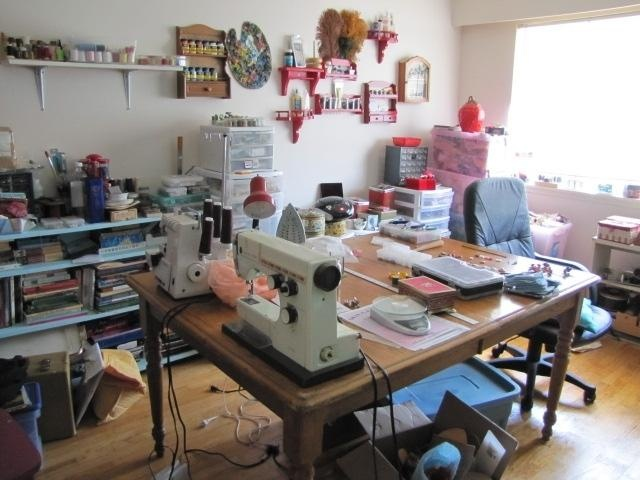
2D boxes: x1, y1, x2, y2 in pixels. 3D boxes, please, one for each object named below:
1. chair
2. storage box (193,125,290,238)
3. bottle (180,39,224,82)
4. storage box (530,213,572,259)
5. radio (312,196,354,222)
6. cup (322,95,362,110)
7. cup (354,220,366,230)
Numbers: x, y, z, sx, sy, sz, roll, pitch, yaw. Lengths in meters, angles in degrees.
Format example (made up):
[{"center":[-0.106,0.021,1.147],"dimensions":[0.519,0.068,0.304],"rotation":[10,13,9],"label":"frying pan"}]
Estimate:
[{"center":[1.492,0.338,3.447],"dimensions":[0.855,1.425,0.903],"rotation":[-9,14,-30],"label":"chair"},{"center":[-0.619,-0.505,3.925],"dimensions":[0.495,1.026,0.502],"rotation":[-7,16,-33],"label":"storage box"},{"center":[-0.884,-1.318,3.700],"dimensions":[0.325,0.285,0.115],"rotation":[-10,21,-33],"label":"bottle"},{"center":[2.002,-0.039,4.390],"dimensions":[0.248,0.322,0.300],"rotation":[-14,25,-27],"label":"storage box"},{"center":[0.104,-0.216,3.524],"dimensions":[0.269,0.132,0.251],"rotation":[-5,15,-9],"label":"radio"},{"center":[0.201,-1.225,4.540],"dimensions":[0.116,0.147,0.510],"rotation":[12,21,42],"label":"cup"},{"center":[0.307,-0.114,3.887],"dimensions":[0.075,0.060,0.079],"rotation":[1,10,0],"label":"cup"}]
